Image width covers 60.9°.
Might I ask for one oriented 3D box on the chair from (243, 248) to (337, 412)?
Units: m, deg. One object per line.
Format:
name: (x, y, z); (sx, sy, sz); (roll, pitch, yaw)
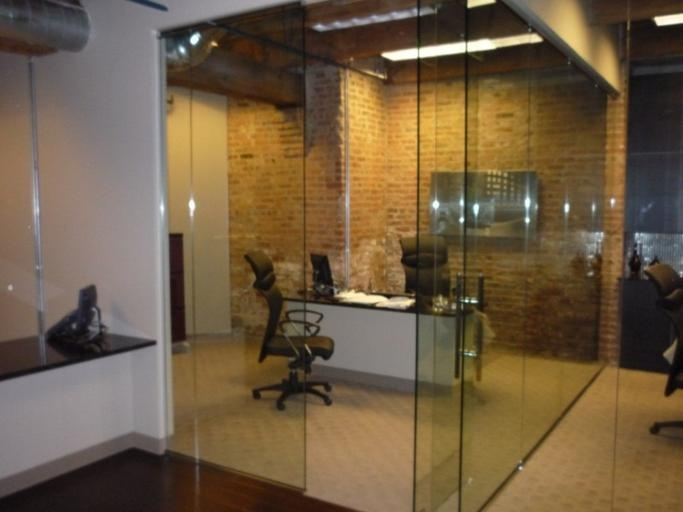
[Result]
chair: (-0.349, 0.525, 4.211); (0.574, 1.044, 0.582); (-2, -4, 12)

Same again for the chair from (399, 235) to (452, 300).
chair: (0.541, 0.088, 3.562); (0.360, 0.459, 0.357); (-2, 18, 4)

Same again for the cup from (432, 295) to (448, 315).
cup: (0.577, 0.281, 3.387); (0.093, 0.103, 0.055); (2, 9, 9)

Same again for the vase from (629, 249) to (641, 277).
vase: (1.466, 0.039, 2.900); (0.056, 0.138, 0.028); (6, 11, 35)
